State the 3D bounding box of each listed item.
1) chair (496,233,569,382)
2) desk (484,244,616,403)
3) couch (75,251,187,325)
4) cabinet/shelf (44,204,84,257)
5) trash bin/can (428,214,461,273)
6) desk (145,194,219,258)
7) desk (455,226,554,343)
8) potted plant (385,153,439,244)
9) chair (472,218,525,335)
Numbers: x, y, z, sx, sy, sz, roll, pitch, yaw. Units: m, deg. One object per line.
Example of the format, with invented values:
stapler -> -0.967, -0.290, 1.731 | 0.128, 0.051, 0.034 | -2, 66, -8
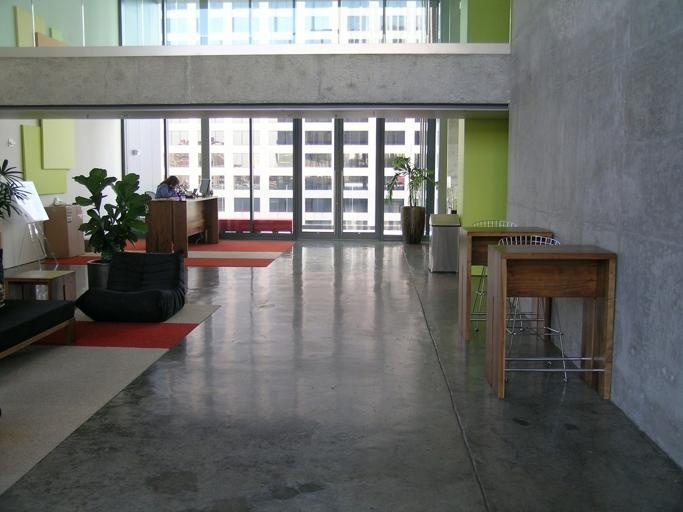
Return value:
chair -> 2.162, 0.500, 6.289 | 0.877, 1.784, 0.892 | -5, -13, 33
desk -> 1.909, 0.602, 5.173 | 0.985, 1.285, 0.875 | 0, 4, 8
couch -> -2.759, 0.391, 7.364 | 1.283, 0.823, 1.344 | 7, 13, 23
cabinet/shelf -> -6.274, -0.600, 12.392 | 0.531, 1.075, 0.764 | 0, 6, -2
trash bin/can -> 2.022, -0.271, 10.670 | 0.576, 1.083, 0.535 | 2, 10, 10
desk -> -3.958, -0.865, 13.790 | 1.498, 1.314, 3.320 | -1, 9, -9
desk -> 1.983, 0.136, 7.057 | 1.116, 1.577, 1.688 | -1, 2, -2
potted plant -> 1.992, -1.578, 15.116 | 1.483, 2.372, 1.609 | 4, 9, 38
chair -> 2.006, 0.217, 7.187 | 0.602, 1.423, 0.510 | 5, 32, 26
